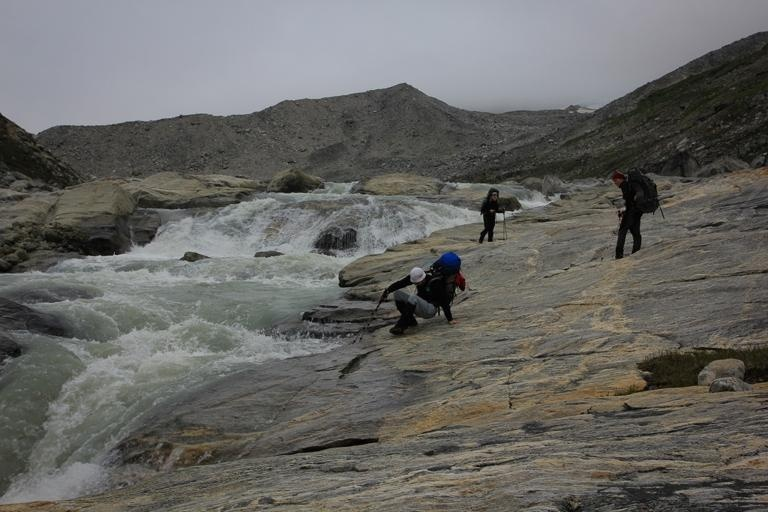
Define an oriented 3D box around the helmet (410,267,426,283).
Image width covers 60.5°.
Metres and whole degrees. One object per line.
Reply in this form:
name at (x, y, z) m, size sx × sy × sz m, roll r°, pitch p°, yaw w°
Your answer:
helmet at (0.750, 0.438, 15.140) m, size 0.372 × 0.400 × 0.343 m, roll -6°, pitch -15°, yaw 3°
